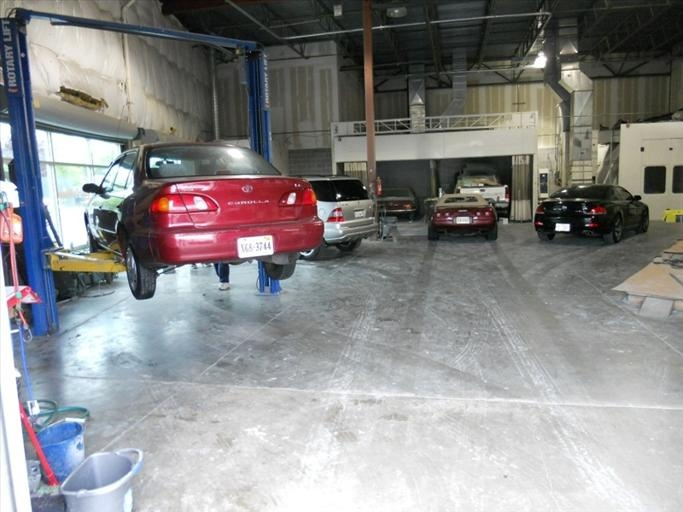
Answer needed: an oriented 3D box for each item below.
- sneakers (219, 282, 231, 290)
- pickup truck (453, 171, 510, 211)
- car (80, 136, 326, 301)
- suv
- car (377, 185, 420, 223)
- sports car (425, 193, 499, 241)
[{"bbox_3d":[-1.882,0.492,7.890,0.150,0.156,0.097,-7,-6,27],"label":"sneakers"},{"bbox_3d":[6.097,-2.379,20.273,1.667,1.388,3.724,0,1,21],"label":"pickup truck"},{"bbox_3d":[-1.956,-0.604,6.041,1.568,1.299,3.225,-5,15,-31],"label":"car"},{"bbox_3d":[-0.409,-1.027,10.528,2.022,1.066,1.153,11,18,27],"label":"suv"},{"bbox_3d":[2.463,-2.283,21.975,1.535,1.410,2.011,2,13,27],"label":"car"},{"bbox_3d":[3.099,-0.926,12.901,1.729,1.120,1.078,-2,12,10],"label":"sports car"}]
